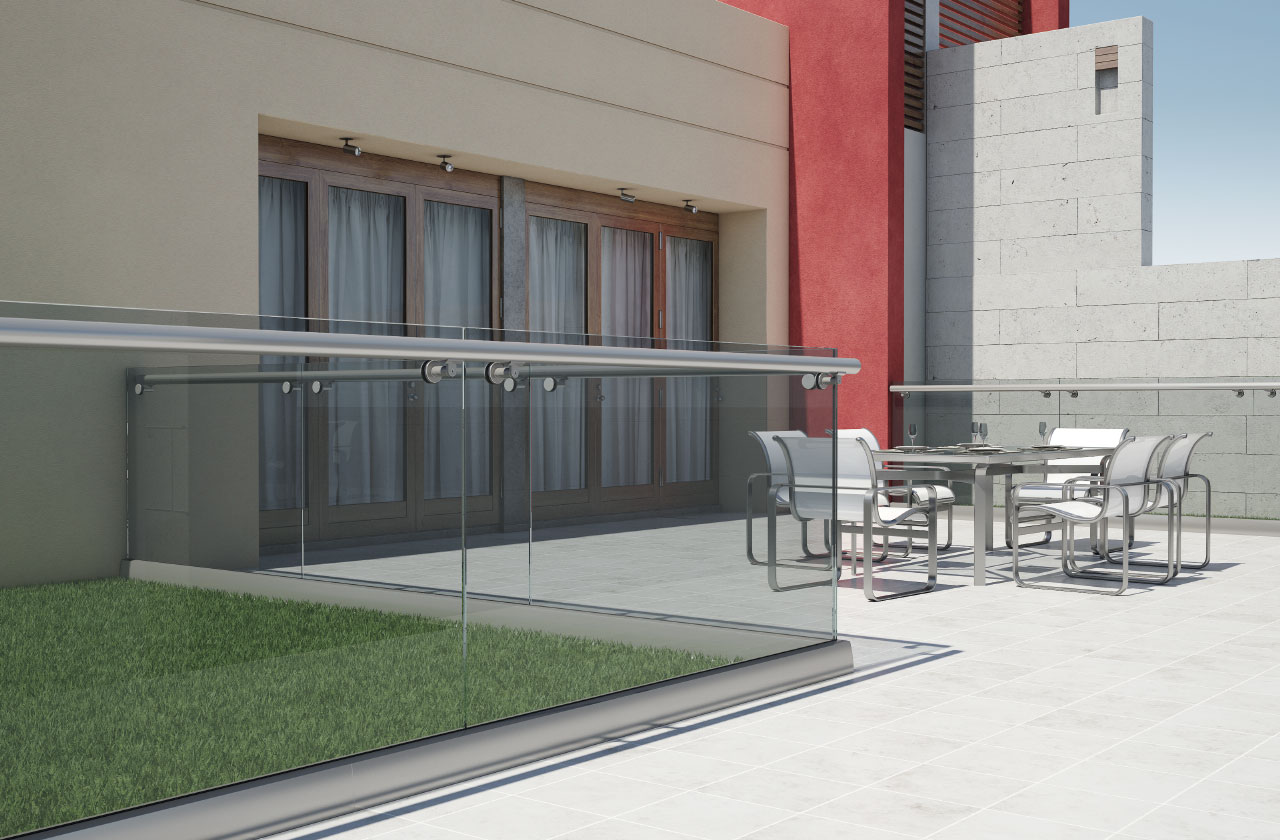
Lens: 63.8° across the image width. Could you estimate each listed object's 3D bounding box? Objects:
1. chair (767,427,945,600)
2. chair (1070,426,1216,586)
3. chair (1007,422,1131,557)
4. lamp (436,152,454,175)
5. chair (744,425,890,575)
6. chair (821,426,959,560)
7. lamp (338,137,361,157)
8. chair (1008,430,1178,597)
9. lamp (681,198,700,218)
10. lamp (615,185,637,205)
[{"bbox_3d":[1.554,0.655,7.379,1.138,1.156,1.054,-1,1,-24],"label":"chair"},{"bbox_3d":[4.134,0.707,8.469,0.611,0.849,1.179,0,-1,39],"label":"chair"},{"bbox_3d":[3.520,0.695,8.546,1.015,1.145,0.941,5,-8,7],"label":"chair"},{"bbox_3d":[-1.756,-2.322,9.320,0.107,0.108,0.099,-4,1,-6],"label":"lamp"},{"bbox_3d":[0.968,0.428,5.341,0.720,0.735,0.749,-2,-10,28],"label":"chair"},{"bbox_3d":[1.996,0.559,7.682,0.595,0.749,0.553,1,9,20],"label":"chair"},{"bbox_3d":[-2.441,-2.318,8.728,0.111,0.073,0.091,-3,1,22],"label":"lamp"},{"bbox_3d":[3.340,0.641,7.589,1.071,1.100,1.034,-1,1,-26],"label":"chair"},{"bbox_3d":[0.569,-2.406,11.616,0.157,0.158,0.091,0,2,-13],"label":"lamp"},{"bbox_3d":[-0.149,-2.389,10.875,0.173,0.105,0.060,2,35,-15],"label":"lamp"}]
